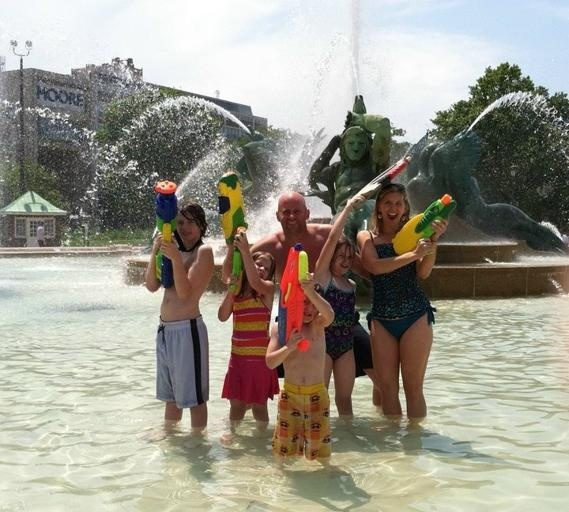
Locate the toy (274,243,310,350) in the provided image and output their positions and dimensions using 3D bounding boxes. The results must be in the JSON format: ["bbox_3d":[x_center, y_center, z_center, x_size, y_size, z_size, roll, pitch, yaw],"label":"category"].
[{"bbox_3d":[0.042,0.217,3.282,0.115,0.570,0.319,1,0,-23],"label":"toy"}]

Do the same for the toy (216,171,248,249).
[{"bbox_3d":[-0.342,-0.305,3.868,0.140,0.496,0.153,5,11,28],"label":"toy"}]

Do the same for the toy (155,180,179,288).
[{"bbox_3d":[-0.666,-0.124,3.700,0.176,0.670,0.266,-1,18,-7],"label":"toy"}]

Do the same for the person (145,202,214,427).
[{"bbox_3d":[-0.675,0.398,3.864,0.412,1.502,0.463,1,-1,-15],"label":"person"}]

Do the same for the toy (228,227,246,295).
[{"bbox_3d":[-0.295,0.015,3.820,0.084,0.442,0.116,3,-4,37],"label":"toy"}]

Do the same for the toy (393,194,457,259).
[{"bbox_3d":[0.899,-0.170,3.862,0.480,0.238,0.147,-43,-42,19],"label":"toy"}]
